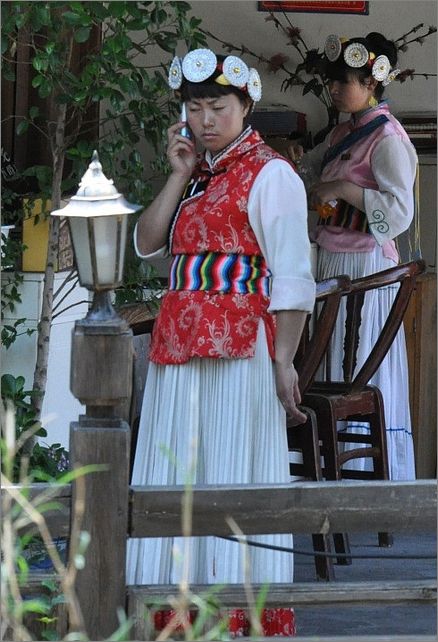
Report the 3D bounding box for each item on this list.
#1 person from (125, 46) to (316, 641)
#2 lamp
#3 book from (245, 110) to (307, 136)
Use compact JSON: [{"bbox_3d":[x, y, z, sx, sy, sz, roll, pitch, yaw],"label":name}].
[{"bbox_3d":[-0.008,-0.103,2.701,0.483,1.003,0.352,5,9,18],"label":"person"},{"bbox_3d":[-0.229,-0.169,2.185,0.154,0.278,0.076,2,8,-5],"label":"lamp"},{"bbox_3d":[0.239,-0.812,4.849,0.203,0.075,0.250,0,12,-3],"label":"book"}]
